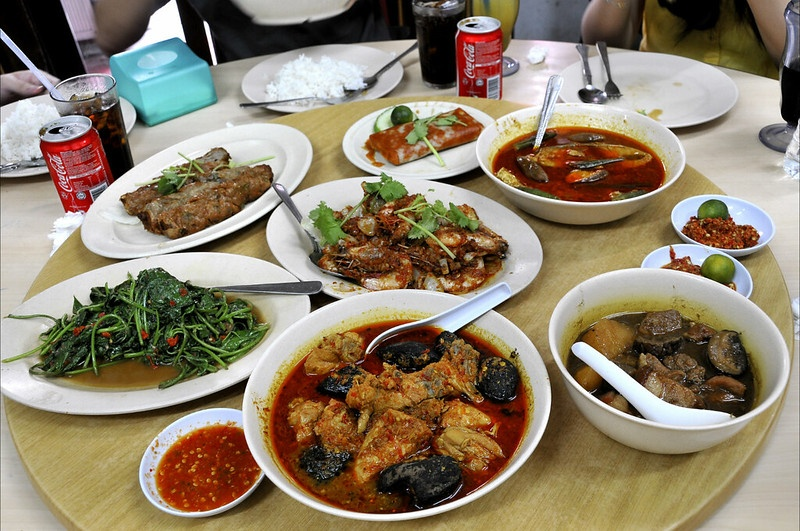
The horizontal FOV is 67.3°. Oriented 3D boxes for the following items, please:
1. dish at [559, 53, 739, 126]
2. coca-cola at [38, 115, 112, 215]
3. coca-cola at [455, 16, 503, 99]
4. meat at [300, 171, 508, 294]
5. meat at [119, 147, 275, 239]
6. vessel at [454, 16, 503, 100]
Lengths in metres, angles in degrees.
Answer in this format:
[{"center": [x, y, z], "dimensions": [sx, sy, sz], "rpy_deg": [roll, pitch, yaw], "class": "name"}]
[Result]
[{"center": [1.907, -1.325, 4.560], "dimensions": [0.966, 0.104, 0.946], "rpy_deg": [0, 41, 7], "class": "dish"}, {"center": [-2.112, -0.668, 3.942], "dimensions": [0.348, 0.521, 0.377], "rpy_deg": [-10, 49, -5], "class": "coca-cola"}, {"center": [0.571, -1.514, 4.384], "dimensions": [0.320, 0.566, 0.327], "rpy_deg": [-2, 49, 2], "class": "coca-cola"}, {"center": [0.047, -0.113, 3.400], "dimensions": [0.909, 0.217, 0.620], "rpy_deg": [23, 51, 18], "class": "meat"}, {"center": [-1.307, -0.472, 3.882], "dimensions": [0.691, 0.197, 0.679], "rpy_deg": [-30, 42, -35], "class": "meat"}, {"center": [0.570, -1.513, 4.388], "dimensions": [0.323, 0.571, 0.330], "rpy_deg": [-2, 49, 2], "class": "vessel"}]
